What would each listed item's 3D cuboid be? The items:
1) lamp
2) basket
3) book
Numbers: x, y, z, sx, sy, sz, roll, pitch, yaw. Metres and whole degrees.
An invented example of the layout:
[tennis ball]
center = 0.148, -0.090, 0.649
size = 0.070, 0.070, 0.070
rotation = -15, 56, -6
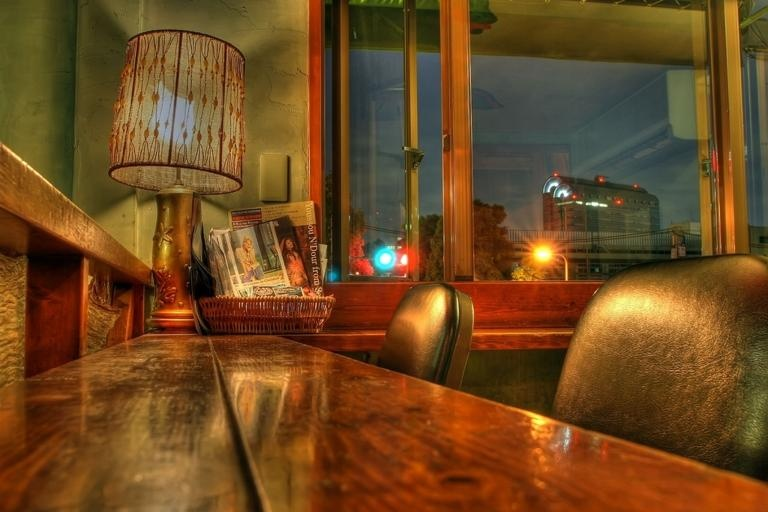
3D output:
[lamp]
center = -0.634, -0.253, 1.870
size = 0.459, 0.928, 0.507
rotation = -2, 8, -26
[basket]
center = -0.349, 0.180, 1.747
size = 0.390, 0.138, 0.065
rotation = -1, 8, -22
[book]
center = -0.383, -0.026, 1.912
size = 0.365, 0.280, 0.426
rotation = 1, 8, -7
